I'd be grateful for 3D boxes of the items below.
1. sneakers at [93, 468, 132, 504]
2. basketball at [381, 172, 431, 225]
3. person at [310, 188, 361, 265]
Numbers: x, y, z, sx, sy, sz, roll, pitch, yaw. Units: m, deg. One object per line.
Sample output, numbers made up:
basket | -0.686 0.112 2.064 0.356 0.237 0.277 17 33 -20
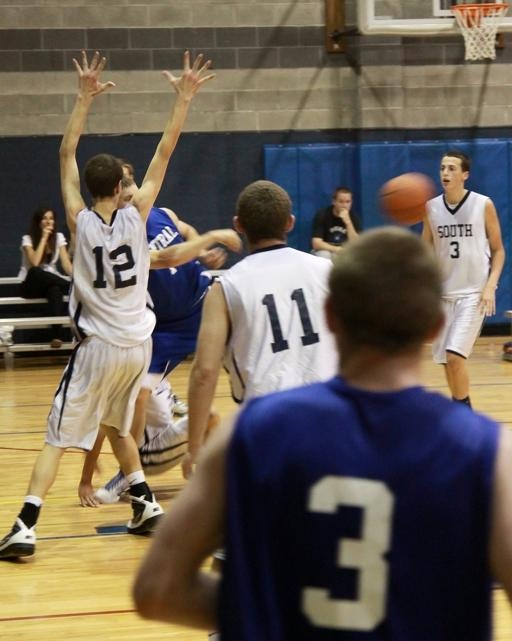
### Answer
sneakers | -0.653 0.756 4.078 0.144 0.071 0.262 -17 -21 -36
basketball | 0.709 -0.582 4.272 0.240 0.244 0.284 0 4 8
person | 0.809 -0.891 8.821 0.485 0.823 0.635 4 22 -5
